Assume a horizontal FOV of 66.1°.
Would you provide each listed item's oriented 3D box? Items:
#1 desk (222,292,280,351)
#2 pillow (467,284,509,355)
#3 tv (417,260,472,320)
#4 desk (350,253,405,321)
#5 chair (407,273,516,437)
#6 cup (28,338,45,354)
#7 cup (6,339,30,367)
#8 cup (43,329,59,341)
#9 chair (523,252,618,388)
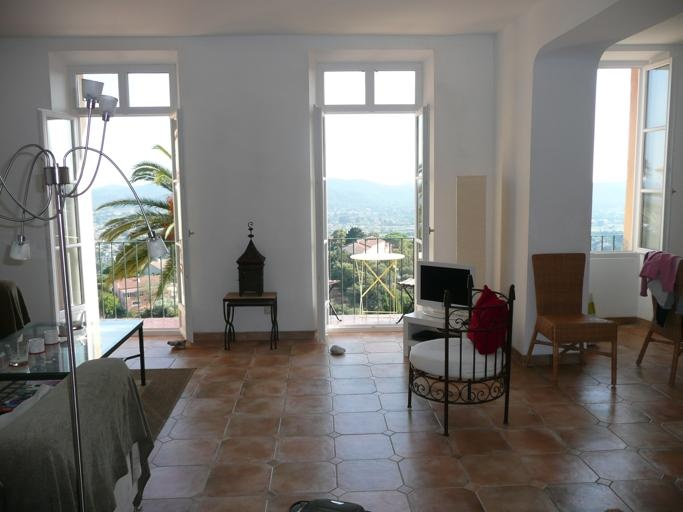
[{"bbox_3d":[-1.066,0.779,6.180,0.776,0.577,0.812,0,0,45],"label":"desk"},{"bbox_3d":[1.165,0.539,4.210,0.257,0.468,0.461,7,12,-3],"label":"pillow"},{"bbox_3d":[1.014,0.345,5.178,0.566,0.490,0.191,3,6,38],"label":"tv"},{"bbox_3d":[0.552,0.407,7.697,0.844,0.858,0.846,0,2,-4],"label":"desk"},{"bbox_3d":[1.009,0.824,4.498,0.902,1.124,0.885,5,5,26],"label":"chair"},{"bbox_3d":[-2.402,0.716,4.134,0.120,0.090,0.112,2,10,0],"label":"cup"},{"bbox_3d":[-2.535,0.763,4.105,0.195,0.209,0.200,0,-2,0],"label":"cup"},{"bbox_3d":[-2.408,0.668,4.365,0.105,0.108,0.104,2,-2,0],"label":"cup"},{"bbox_3d":[2.202,0.597,5.090,0.664,1.134,0.725,-2,13,-5],"label":"chair"}]
